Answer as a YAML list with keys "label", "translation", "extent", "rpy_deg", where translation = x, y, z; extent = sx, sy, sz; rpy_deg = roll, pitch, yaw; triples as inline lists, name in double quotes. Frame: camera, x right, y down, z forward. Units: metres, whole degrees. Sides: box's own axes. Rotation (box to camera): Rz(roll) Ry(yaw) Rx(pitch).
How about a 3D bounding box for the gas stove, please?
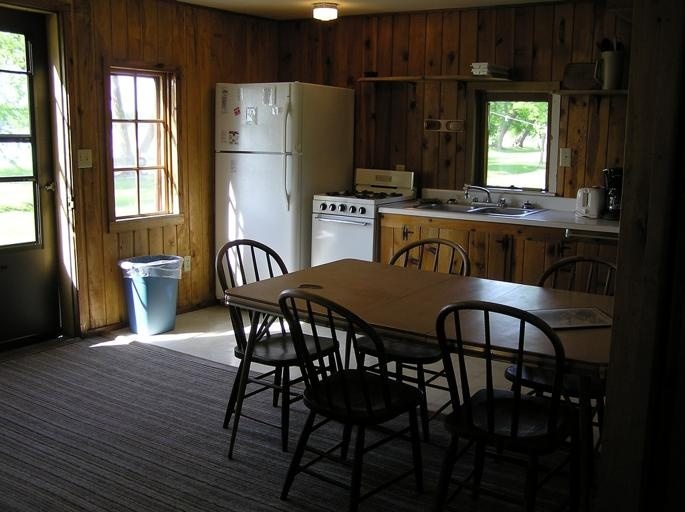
- label: "gas stove"
  translation: [0.225, -0.518, 5.313]
  extent: [0.914, 0.558, 0.940]
  rpy_deg: [3, 13, 15]

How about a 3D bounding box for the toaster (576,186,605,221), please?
- label: "toaster"
  translation: [1.978, -0.426, 4.411]
  extent: [0.171, 0.253, 0.246]
  rpy_deg: [-1, 4, -20]

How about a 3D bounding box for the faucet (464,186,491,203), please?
- label: "faucet"
  translation: [1.255, -0.580, 5.136]
  extent: [0.276, 0.150, 0.081]
  rpy_deg: [10, 15, 35]
